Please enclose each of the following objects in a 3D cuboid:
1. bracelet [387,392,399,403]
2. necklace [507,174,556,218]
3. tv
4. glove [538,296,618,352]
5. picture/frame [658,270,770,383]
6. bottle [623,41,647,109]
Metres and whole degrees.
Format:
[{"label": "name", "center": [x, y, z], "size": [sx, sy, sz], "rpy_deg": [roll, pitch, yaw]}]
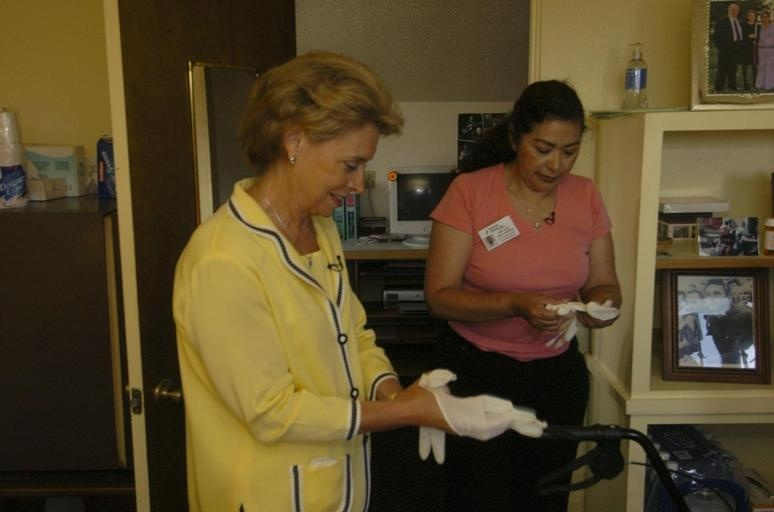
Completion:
[{"label": "bracelet", "center": [0.020, 0.492, 2.575], "size": [0.030, 0.007, 0.030], "rpy_deg": [-23, 3, -6]}, {"label": "necklace", "center": [0.584, -0.234, 2.978], "size": [0.145, 0.178, 0.095], "rpy_deg": [-6, 1, -13]}, {"label": "tv", "center": [0.320, -0.417, 5.996], "size": [0.585, 0.630, 0.364], "rpy_deg": [-1, 6, 5]}, {"label": "glove", "center": [0.719, 0.246, 2.837], "size": [0.273, 0.182, 0.100], "rpy_deg": [-19, 15, -7]}, {"label": "picture/frame", "center": [1.464, 0.322, 3.264], "size": [0.518, 0.576, 0.039], "rpy_deg": [1, -13, 2]}, {"label": "bottle", "center": [1.120, -0.818, 3.324], "size": [0.108, 0.313, 0.254], "rpy_deg": [0, 8, 20]}]
